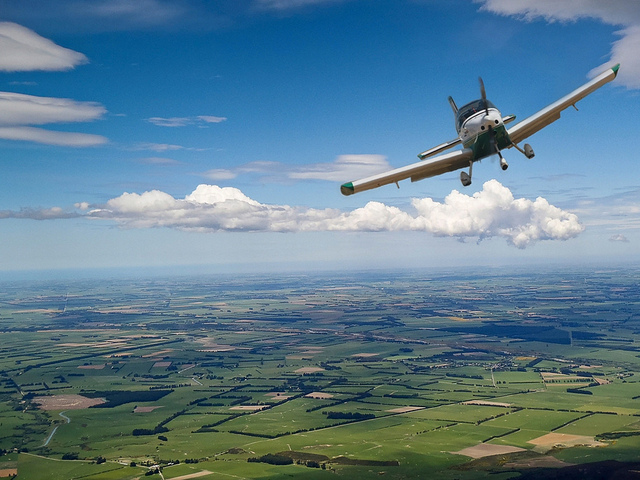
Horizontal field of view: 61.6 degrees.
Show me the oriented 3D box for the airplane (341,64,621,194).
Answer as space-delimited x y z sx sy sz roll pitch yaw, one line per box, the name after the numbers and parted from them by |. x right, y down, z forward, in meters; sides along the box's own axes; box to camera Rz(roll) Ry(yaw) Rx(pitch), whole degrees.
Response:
15.061 -9.870 54.119 28.758 7.242 19.848 -15 13 31 | airplane
